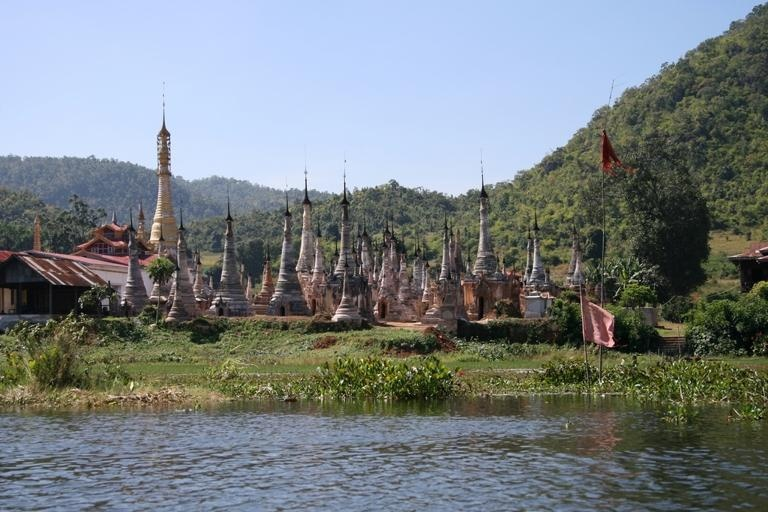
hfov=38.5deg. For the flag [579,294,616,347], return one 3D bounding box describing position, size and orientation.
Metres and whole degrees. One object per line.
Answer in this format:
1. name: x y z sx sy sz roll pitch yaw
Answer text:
1. flag: 10.826 3.328 55.633 1.526 2.465 2.123 -1 -9 11
